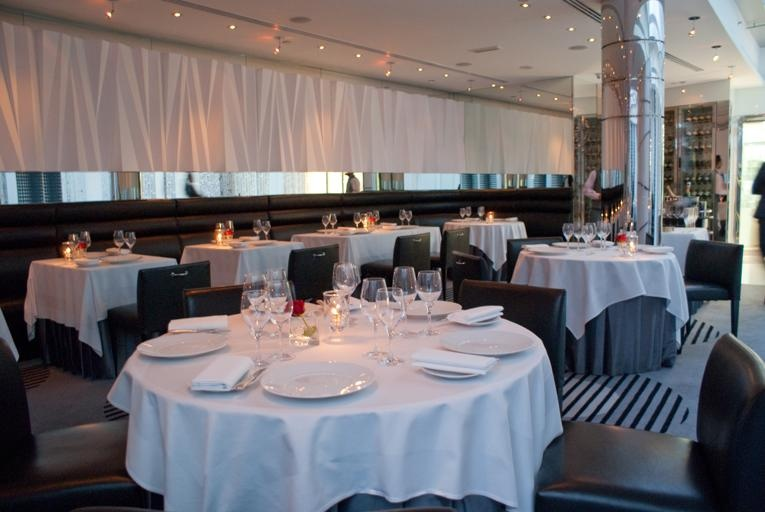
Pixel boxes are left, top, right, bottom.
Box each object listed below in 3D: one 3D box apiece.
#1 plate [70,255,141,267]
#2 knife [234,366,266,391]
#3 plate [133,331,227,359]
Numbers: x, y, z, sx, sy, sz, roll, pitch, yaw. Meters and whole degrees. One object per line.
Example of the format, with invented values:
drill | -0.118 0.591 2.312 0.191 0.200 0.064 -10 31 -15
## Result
plate | -2.366 0.025 4.744 0.532 0.053 0.368 -8 13 -35
knife | -0.539 0.497 2.240 0.031 0.021 0.194 19 13 9
plate | -0.917 0.412 2.526 0.392 0.044 0.243 0 11 2
